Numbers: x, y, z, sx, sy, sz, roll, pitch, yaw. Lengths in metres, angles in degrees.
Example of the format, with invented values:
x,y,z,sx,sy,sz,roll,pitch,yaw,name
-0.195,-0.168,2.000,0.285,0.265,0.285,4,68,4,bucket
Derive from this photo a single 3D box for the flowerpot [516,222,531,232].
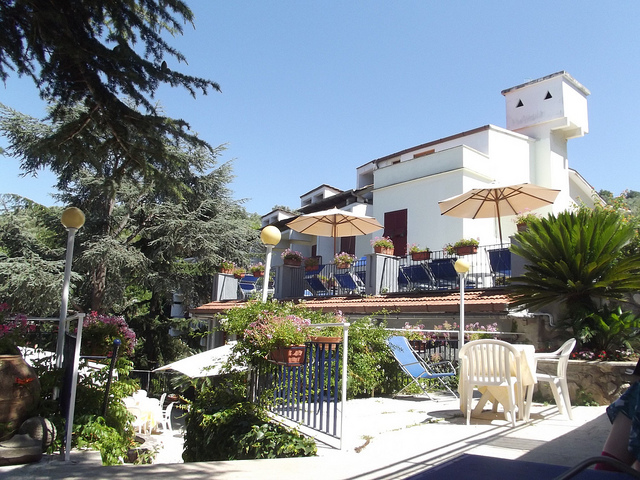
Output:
x,y,z,sx,sy,sz,roll,pitch,yaw,name
5.307,-0.327,12.486,0.240,0.168,0.239,-2,-8,26,flowerpot

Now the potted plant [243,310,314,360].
x,y,z,sx,sy,sz,roll,pitch,yaw,name
-0.535,1.446,6.679,0.628,0.382,0.508,-22,-25,27,potted plant

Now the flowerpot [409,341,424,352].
x,y,z,sx,sy,sz,roll,pitch,yaw,name
2.530,2.738,12.103,0.249,0.269,0.228,4,7,17,flowerpot

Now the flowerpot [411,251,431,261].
x,y,z,sx,sy,sz,roll,pitch,yaw,name
3.132,0.504,14.868,0.156,0.336,0.695,-6,10,-44,flowerpot

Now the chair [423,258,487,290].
x,y,z,sx,sy,sz,roll,pitch,yaw,name
3.911,1.022,13.819,0.976,0.686,1.729,-6,-9,42,chair

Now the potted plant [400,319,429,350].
x,y,z,sx,sy,sz,roll,pitch,yaw,name
2.316,2.303,11.482,0.838,0.652,0.925,-7,-12,23,potted plant

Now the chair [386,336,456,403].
x,y,z,sx,sy,sz,roll,pitch,yaw,name
2.041,2.724,10.115,1.642,1.539,1.225,-12,-18,35,chair

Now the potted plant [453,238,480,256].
x,y,z,sx,sy,sz,roll,pitch,yaw,name
4.373,0.136,13.958,0.653,0.448,0.476,-9,-18,34,potted plant

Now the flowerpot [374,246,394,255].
x,y,z,sx,sy,sz,roll,pitch,yaw,name
2.096,0.357,15.644,0.722,0.314,0.294,-3,8,-32,flowerpot

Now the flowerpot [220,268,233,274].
x,y,z,sx,sy,sz,roll,pitch,yaw,name
-3.892,1.290,19.704,0.533,0.231,0.290,2,7,6,flowerpot

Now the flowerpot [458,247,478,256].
x,y,z,sx,sy,sz,roll,pitch,yaw,name
4.268,0.350,13.762,0.215,0.279,0.509,-4,9,-39,flowerpot

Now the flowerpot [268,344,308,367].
x,y,z,sx,sy,sz,roll,pitch,yaw,name
-0.486,1.595,6.636,0.595,0.317,0.169,4,8,21,flowerpot

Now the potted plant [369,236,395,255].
x,y,z,sx,sy,sz,roll,pitch,yaw,name
2.061,0.006,15.785,0.751,0.669,0.967,0,-8,0,potted plant

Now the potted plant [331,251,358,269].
x,y,z,sx,sy,sz,roll,pitch,yaw,name
0.797,0.752,16.475,0.588,0.534,0.802,0,7,-13,potted plant

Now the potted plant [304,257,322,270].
x,y,z,sx,sy,sz,roll,pitch,yaw,name
-0.234,0.905,17.680,0.573,0.379,0.561,-1,2,-7,potted plant

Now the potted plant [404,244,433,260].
x,y,z,sx,sy,sz,roll,pitch,yaw,name
3.148,0.342,15.206,0.652,0.378,0.911,3,-8,-24,potted plant

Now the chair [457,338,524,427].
x,y,z,sx,sy,sz,roll,pitch,yaw,name
2.675,2.148,7.297,0.983,1.194,0.936,0,-12,7,chair

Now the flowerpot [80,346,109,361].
x,y,z,sx,sy,sz,roll,pitch,yaw,name
-3.587,1.798,7.516,0.353,0.124,0.259,6,-5,15,flowerpot

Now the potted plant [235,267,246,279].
x,y,z,sx,sy,sz,roll,pitch,yaw,name
-3.286,1.378,19.704,0.439,0.417,0.369,6,-16,-24,potted plant

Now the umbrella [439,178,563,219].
x,y,z,sx,sy,sz,roll,pitch,yaw,name
4.830,-0.948,12.617,2.230,0.911,2.228,-6,-14,2,umbrella

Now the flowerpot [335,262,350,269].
x,y,z,sx,sy,sz,roll,pitch,yaw,name
0.773,0.897,16.282,0.528,0.273,0.150,8,9,42,flowerpot

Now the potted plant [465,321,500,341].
x,y,z,sx,sy,sz,roll,pitch,yaw,name
3.659,2.071,10.746,0.755,0.383,0.786,-3,-4,11,potted plant

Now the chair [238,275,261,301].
x,y,z,sx,sy,sz,roll,pitch,yaw,name
-2.955,1.873,19.279,0.723,0.723,1.528,0,7,-12,chair
